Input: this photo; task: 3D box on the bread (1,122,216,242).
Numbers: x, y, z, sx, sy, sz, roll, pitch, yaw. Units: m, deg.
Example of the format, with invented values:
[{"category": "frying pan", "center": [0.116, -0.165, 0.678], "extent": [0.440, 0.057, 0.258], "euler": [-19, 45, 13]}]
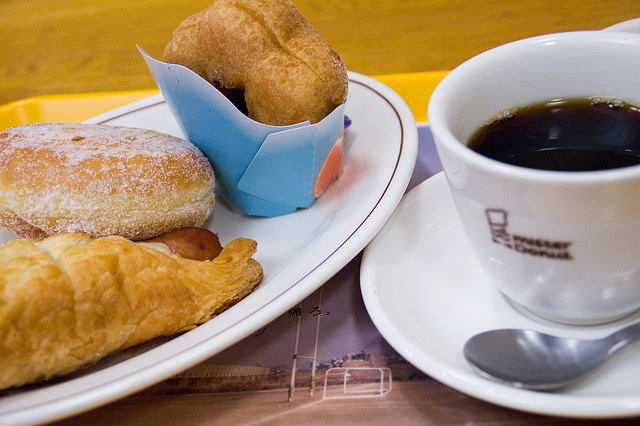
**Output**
[{"category": "bread", "center": [-0.234, -0.030, 0.617], "extent": [0.212, 0.146, 0.080], "euler": [-1, 98, -16]}]
